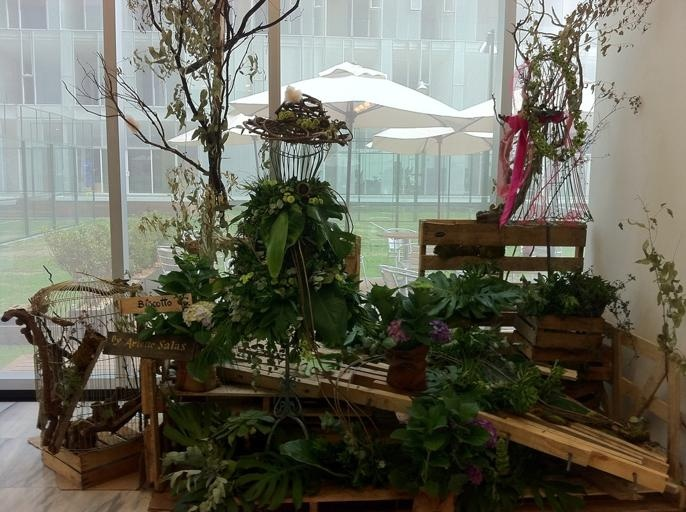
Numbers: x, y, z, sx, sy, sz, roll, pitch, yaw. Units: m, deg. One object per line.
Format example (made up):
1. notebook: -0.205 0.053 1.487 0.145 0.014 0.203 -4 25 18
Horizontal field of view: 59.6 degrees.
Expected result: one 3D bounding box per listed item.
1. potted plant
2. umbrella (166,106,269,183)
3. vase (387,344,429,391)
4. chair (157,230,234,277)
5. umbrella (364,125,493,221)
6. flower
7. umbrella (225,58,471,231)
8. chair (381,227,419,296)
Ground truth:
1. potted plant: 1.592 0.410 4.157 0.823 0.660 0.650 0 -2 2
2. umbrella: -1.007 -0.967 4.720 0.699 0.559 0.739 2 9 -33
3. vase: 0.402 0.686 3.787 0.271 0.309 0.281 1 -8 -9
4. chair: -1.170 -0.041 4.371 0.525 0.244 0.426 0 4 25
5. umbrella: 0.729 -0.651 4.493 0.675 0.647 0.719 2 -9 6
6. flower: 0.396 0.364 3.765 0.500 0.389 0.346 0 10 1
7. umbrella: 0.003 -0.868 4.311 1.216 0.921 1.287 0 3 -1
8. chair: 0.461 0.014 4.795 0.386 0.485 0.406 -1 5 -12
